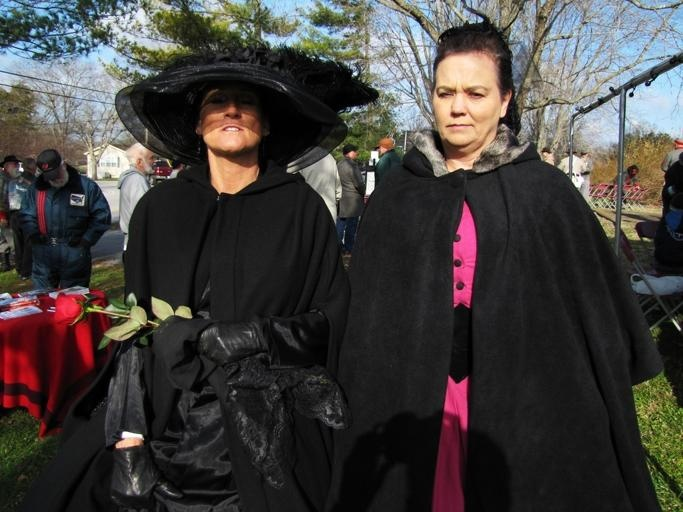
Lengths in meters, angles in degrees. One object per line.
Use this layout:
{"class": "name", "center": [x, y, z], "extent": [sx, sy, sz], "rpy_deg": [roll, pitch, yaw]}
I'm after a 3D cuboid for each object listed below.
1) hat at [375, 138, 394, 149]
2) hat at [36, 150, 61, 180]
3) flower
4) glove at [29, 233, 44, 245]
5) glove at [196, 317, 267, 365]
{"class": "hat", "center": [0.911, -2.263, 10.070], "extent": [0.278, 0.186, 0.375], "rpy_deg": [-3, 13, -9]}
{"class": "hat", "center": [-3.280, -1.072, 5.552], "extent": [0.246, 0.357, 0.195], "rpy_deg": [-2, -18, -3]}
{"class": "flower", "center": [-1.043, 0.297, 2.330], "extent": [0.628, 0.195, 0.301], "rpy_deg": [7, 35, -6]}
{"class": "glove", "center": [-3.449, -0.199, 5.617], "extent": [0.121, 0.121, 0.028], "rpy_deg": [2, 6, -33]}
{"class": "glove", "center": [-0.474, 0.377, 2.175], "extent": [0.267, 0.162, 0.112], "rpy_deg": [-11, 1, -13]}
